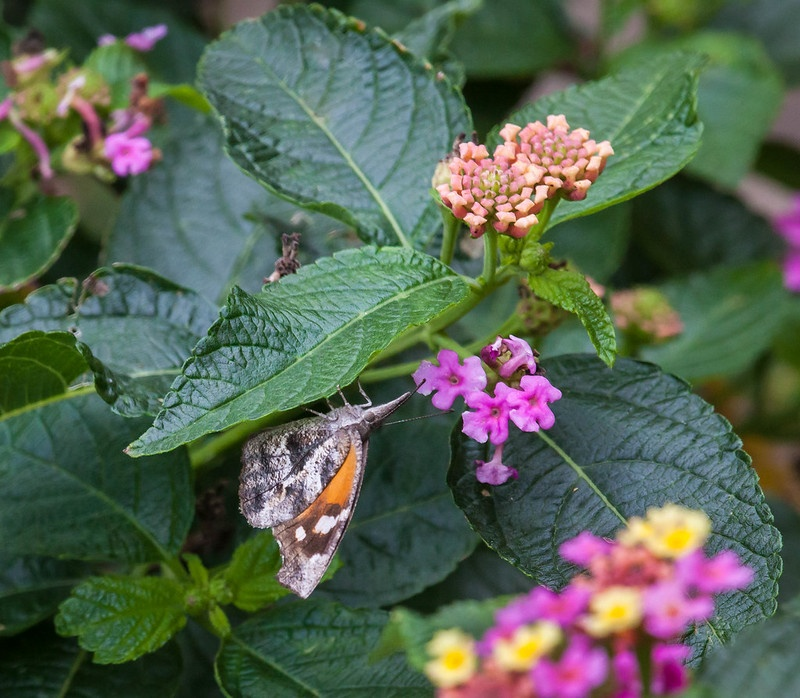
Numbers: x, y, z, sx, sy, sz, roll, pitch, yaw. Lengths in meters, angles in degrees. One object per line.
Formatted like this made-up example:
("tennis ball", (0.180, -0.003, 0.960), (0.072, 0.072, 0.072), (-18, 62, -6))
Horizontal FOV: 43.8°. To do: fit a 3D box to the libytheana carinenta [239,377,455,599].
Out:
("libytheana carinenta", (-0.107, 0.174, 1.297), (0.269, 0.139, 0.253), (-40, 27, -12))
